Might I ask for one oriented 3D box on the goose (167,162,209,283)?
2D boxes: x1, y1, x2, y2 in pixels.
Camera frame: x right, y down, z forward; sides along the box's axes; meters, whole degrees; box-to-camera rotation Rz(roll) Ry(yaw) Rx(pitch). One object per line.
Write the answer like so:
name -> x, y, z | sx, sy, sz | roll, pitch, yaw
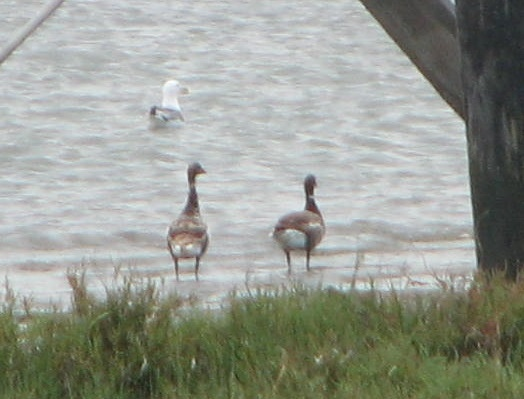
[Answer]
goose -> -2.040, 0.584, 34.071 | 1.313, 3.242, 2.285 | 3, 5, 7
